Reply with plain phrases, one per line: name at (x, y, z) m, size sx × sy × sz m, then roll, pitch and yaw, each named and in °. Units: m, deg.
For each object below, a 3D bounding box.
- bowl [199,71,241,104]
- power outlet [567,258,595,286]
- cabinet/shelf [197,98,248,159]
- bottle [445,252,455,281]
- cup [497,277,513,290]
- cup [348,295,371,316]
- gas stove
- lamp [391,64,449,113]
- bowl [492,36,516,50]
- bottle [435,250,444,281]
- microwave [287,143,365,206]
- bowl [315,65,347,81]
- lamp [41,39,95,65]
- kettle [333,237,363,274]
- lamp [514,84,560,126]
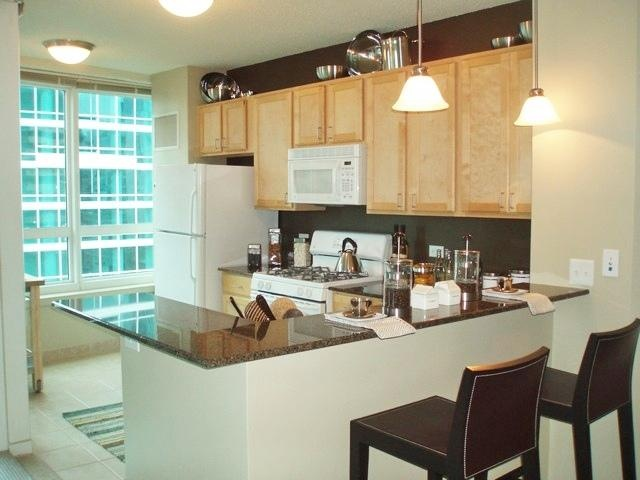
bowl at (-1.057, -1.590, 5.287) m, size 0.299 × 0.249 × 0.357 m, roll 1°, pitch 5°, yaw 1°
power outlet at (1.524, 0.182, 2.949) m, size 0.021 × 0.188 × 0.163 m, roll 5°, pitch -3°, yaw -37°
cabinet/shelf at (-0.999, -1.175, 5.251) m, size 0.615 × 0.463 × 0.238 m, roll 4°, pitch 5°, yaw 43°
bottle at (1.032, 0.188, 4.035) m, size 0.055 × 0.216 × 0.116 m, roll 1°, pitch 8°, yaw 7°
cup at (1.028, 0.244, 2.814) m, size 0.072 × 0.068 × 0.057 m, roll -2°, pitch -2°, yaw 40°
cup at (0.190, 0.305, 2.361) m, size 0.090 × 0.064 × 0.074 m, roll 3°, pitch -3°, yaw -31°
gas stove at (0.005, 0.442, 4.503) m, size 0.765 × 1.080 × 1.103 m, roll -3°, pitch 3°, yaw -34°
lamp at (0.493, -0.737, 2.583) m, size 0.239 × 0.163 × 0.240 m, roll -1°, pitch 3°, yaw -2°
bowl at (1.253, -1.330, 3.442) m, size 0.128 × 0.066 × 0.131 m, roll -3°, pitch 4°, yaw 0°
bottle at (0.948, 0.190, 4.005) m, size 0.073 × 0.207 × 0.343 m, roll 2°, pitch 8°, yaw 12°
microwave at (0.072, -0.598, 4.406) m, size 0.484 × 0.540 × 0.826 m, roll -1°, pitch 2°, yaw -44°
bowl at (0.109, -1.451, 4.418) m, size 0.191 × 0.080 × 0.190 m, roll -2°, pitch 4°, yaw 0°
lamp at (-2.326, -1.751, 4.737) m, size 0.436 × 0.194 × 0.440 m, roll -4°, pitch 9°, yaw -28°
kettle at (0.259, 0.114, 4.439) m, size 0.225 × 0.302 × 0.381 m, roll 1°, pitch 8°, yaw 4°
lamp at (1.180, -0.749, 2.755) m, size 0.226 × 0.164 × 0.230 m, roll 3°, pitch 13°, yaw 40°
